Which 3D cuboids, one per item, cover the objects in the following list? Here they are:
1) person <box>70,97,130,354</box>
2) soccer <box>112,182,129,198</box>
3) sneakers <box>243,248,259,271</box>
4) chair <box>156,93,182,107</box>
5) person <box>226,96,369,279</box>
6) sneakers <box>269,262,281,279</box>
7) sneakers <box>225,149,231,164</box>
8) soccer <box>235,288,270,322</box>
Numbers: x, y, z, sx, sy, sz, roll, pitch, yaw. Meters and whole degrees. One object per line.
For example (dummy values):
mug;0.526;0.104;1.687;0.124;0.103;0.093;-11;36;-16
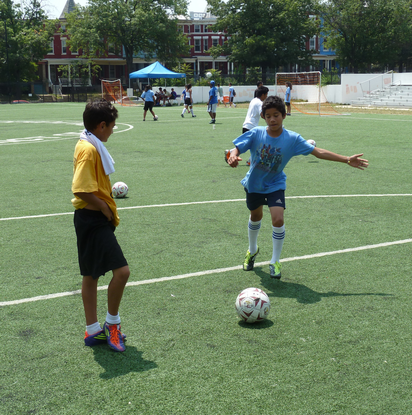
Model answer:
person;-0.665;0.137;3.139;0.328;1.571;0.378;-4;13;-16
soccer;-1.349;-0.260;7.785;0.280;0.274;0.267;-5;-10;2
sneakers;0.414;0.516;4.789;0.092;0.272;0.117;16;-7;28
chair;-3.336;-9.495;43.486;1.382;0.633;1.776;-2;4;-22
person;0.817;-0.135;4.373;1.249;1.544;0.914;3;5;24
sneakers;0.628;0.579;4.460;0.098;0.158;0.148;1;13;8
sneakers;0.193;-0.445;4.371;0.041;0.094;0.136;1;13;8
soccer;0.345;0.724;3.623;0.251;0.218;0.211;-3;13;-12
